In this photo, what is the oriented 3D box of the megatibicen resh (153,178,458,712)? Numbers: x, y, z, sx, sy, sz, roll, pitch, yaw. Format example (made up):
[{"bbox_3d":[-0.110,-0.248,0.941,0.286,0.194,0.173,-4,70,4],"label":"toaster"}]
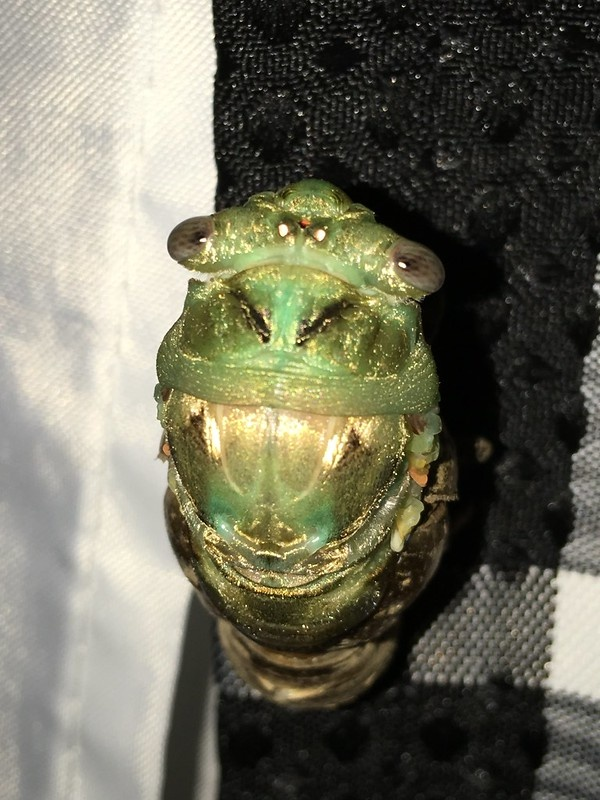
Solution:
[{"bbox_3d":[0.003,0.019,0.613,0.253,0.113,0.297,3,108,1],"label":"megatibicen resh"}]
